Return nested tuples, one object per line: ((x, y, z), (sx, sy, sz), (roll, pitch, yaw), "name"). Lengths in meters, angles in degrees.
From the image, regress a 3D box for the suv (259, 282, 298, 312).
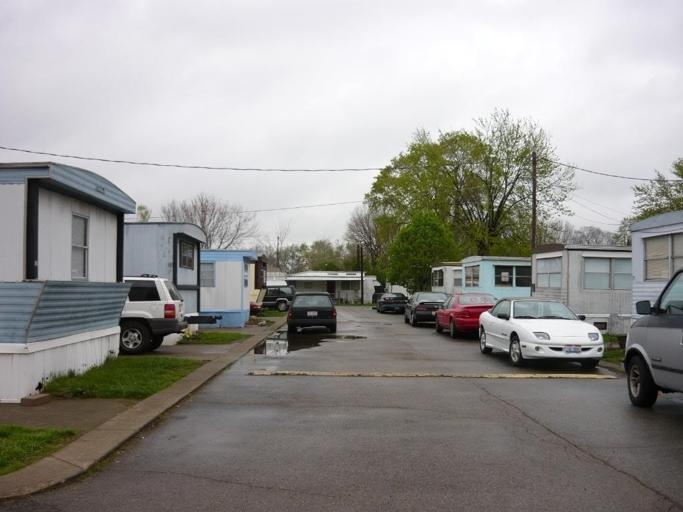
((-4.666, 3.148, 43.857), (3.295, 1.939, 1.984), (3, 0, 3), "suv")

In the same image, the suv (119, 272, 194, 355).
((-4.919, 1.525, 15.829), (1.965, 1.213, 1.255), (2, -3, 1), "suv")

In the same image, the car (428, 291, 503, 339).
((4.229, 2.103, 20.792), (1.553, 1.284, 3.715), (-1, -1, -3), "car")

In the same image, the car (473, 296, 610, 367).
((4.594, 1.817, 14.694), (1.357, 1.086, 3.043), (1, -7, -4), "car")

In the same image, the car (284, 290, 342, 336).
((-1.116, 2.169, 22.604), (1.743, 1.539, 1.150), (0, -3, -7), "car")
